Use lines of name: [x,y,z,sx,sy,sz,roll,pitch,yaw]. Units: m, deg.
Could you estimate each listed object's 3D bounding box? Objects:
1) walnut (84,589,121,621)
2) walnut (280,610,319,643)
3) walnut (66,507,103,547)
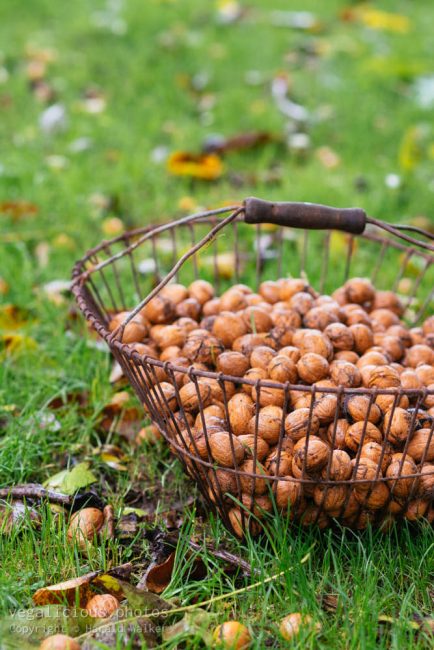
walnut: [-0.260,0.634,1.532,0.052,0.030,0.054,-2,3,-10]
walnut: [0.179,0.649,1.467,0.080,0.041,0.062,-4,-5,15]
walnut: [-0.358,0.517,1.785,0.103,0.056,0.060,-20,26,-15]
